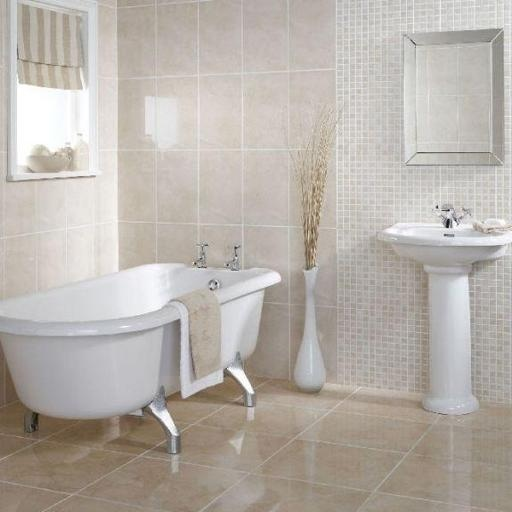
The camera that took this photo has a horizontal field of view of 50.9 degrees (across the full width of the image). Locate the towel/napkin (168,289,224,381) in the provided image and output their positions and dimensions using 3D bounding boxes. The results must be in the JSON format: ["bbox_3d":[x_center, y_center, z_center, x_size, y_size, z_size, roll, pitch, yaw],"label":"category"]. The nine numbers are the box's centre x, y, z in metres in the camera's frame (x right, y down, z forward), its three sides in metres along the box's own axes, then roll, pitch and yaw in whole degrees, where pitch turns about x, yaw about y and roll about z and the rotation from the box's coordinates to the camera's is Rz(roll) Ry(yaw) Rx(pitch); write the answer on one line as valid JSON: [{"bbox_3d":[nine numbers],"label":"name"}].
[{"bbox_3d":[-0.269,0.354,2.404,0.138,0.415,0.363,3,8,26],"label":"towel/napkin"}]

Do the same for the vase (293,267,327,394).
[{"bbox_3d":[0.334,0.438,3.254,0.178,0.753,0.181,1,2,31],"label":"vase"}]

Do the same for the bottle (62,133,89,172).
[{"bbox_3d":[-1.201,-0.697,3.597,0.168,0.248,0.081,-1,2,-24],"label":"bottle"}]

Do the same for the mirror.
[{"bbox_3d":[1.129,-0.904,3.011,0.675,1.043,0.077,0,2,19],"label":"mirror"}]

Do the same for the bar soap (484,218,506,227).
[{"bbox_3d":[1.257,-0.177,2.818,0.079,0.031,0.085,2,7,35],"label":"bar soap"}]
